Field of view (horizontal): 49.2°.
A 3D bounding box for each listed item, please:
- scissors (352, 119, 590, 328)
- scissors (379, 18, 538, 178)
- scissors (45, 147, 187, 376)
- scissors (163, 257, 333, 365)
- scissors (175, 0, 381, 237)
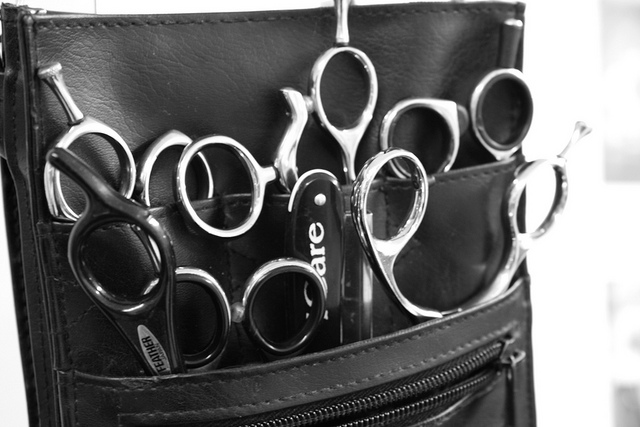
[{"bbox_3d":[0.149,0.020,0.662,0.289,0.192,0.019,-14,24,-30],"label":"scissors"},{"bbox_3d":[0.151,-0.112,0.707,0.020,0.143,0.170,4,-9,-36],"label":"scissors"},{"bbox_3d":[-0.160,0.058,0.559,0.098,0.254,0.026,4,38,-9],"label":"scissors"},{"bbox_3d":[-0.067,0.093,0.576,0.161,0.092,0.014,-8,-11,17],"label":"scissors"},{"bbox_3d":[-0.041,-0.078,0.606,0.207,0.183,0.032,-5,5,-39],"label":"scissors"}]
